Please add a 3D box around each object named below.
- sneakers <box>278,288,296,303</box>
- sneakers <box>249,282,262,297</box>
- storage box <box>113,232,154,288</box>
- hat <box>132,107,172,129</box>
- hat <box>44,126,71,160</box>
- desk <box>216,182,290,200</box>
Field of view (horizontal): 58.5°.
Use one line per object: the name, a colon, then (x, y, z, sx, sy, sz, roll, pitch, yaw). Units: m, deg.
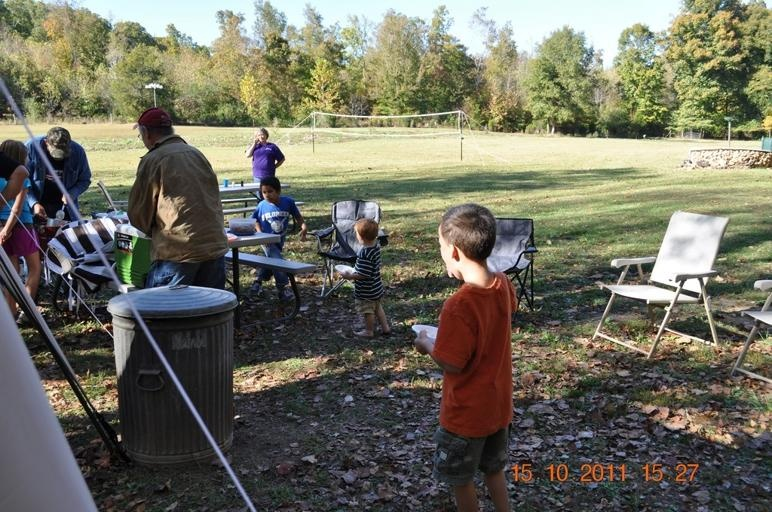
sneakers: (-1.312, 0.554, 9.464, 0.269, 0.266, 0.167, 7, -12, -37)
sneakers: (-1.771, 0.470, 9.620, 0.184, 0.205, 0.185, 1, 4, -16)
storage box: (-2.584, 0.033, 7.250, 0.510, 0.672, 0.364, 7, 9, 38)
hat: (-2.293, -1.372, 6.877, 0.284, 0.157, 0.213, 6, 15, 35)
hat: (-4.060, -1.420, 8.723, 0.305, 0.429, 0.222, -3, -9, -42)
desk: (-2.414, -1.186, 12.566, 0.866, 0.315, 1.310, -11, 16, -40)
